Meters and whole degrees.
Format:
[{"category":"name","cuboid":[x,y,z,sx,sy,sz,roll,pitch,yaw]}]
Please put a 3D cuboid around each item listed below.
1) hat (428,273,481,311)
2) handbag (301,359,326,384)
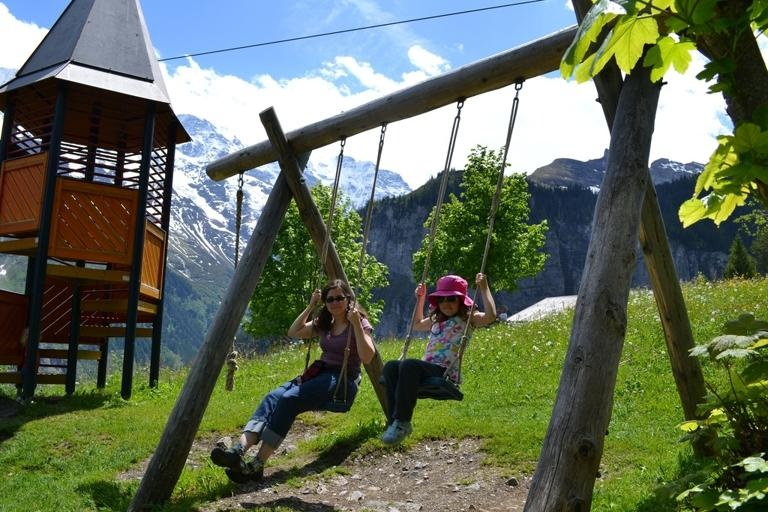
[{"category":"hat","cuboid":[0.915,0.491,8.336,0.562,0.411,0.737,-1,-11,29]},{"category":"handbag","cuboid":[-0.912,1.484,7.857,0.283,0.213,0.103,-40,-49,4]}]
